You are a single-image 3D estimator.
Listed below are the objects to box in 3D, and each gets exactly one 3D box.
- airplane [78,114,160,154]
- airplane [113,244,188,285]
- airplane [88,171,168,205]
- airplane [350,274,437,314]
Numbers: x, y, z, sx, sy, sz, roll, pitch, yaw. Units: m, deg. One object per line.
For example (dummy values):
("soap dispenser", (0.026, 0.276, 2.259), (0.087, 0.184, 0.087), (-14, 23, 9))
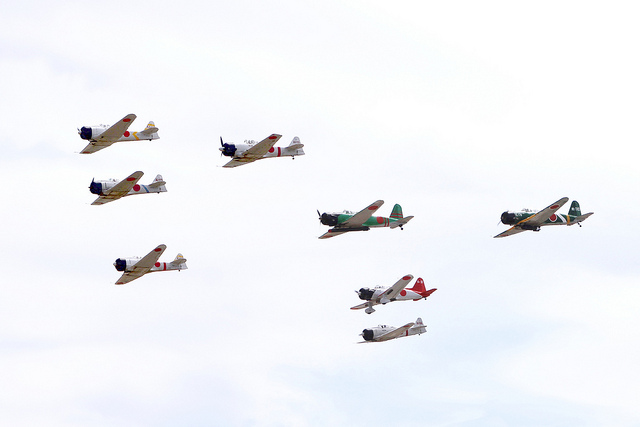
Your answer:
("airplane", (-15.790, -6.302, 72.631), (5.191, 3.464, 3.442), (-4, -42, -8))
("airplane", (-13.342, 4.456, 73.021), (4.937, 4.872, 6.059), (-3, -42, -9))
("airplane", (-14.941, -1.894, 74.271), (5.944, 1.651, 8.336), (1, -15, -16))
("airplane", (5.497, 6.633, 74.628), (6.930, 7.176, 2.390), (-7, -82, -1))
